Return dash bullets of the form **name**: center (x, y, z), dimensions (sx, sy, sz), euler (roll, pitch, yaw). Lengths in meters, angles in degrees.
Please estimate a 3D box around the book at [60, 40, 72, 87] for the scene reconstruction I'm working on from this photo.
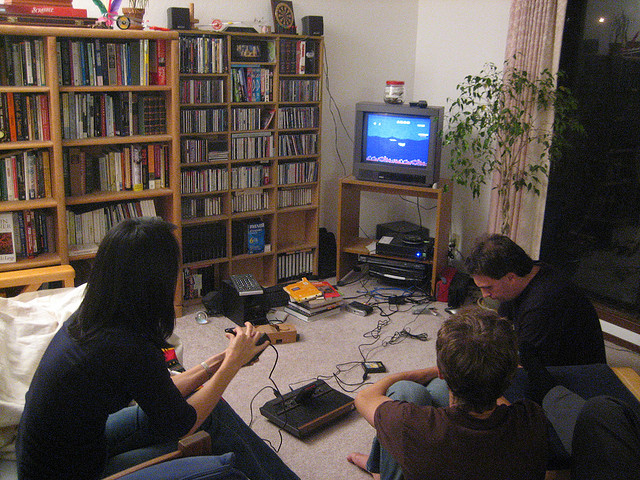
- **book**: center (-1.722, -1.194, 3.534), dimensions (0.030, 0.286, 0.064), euler (10, 19, 37)

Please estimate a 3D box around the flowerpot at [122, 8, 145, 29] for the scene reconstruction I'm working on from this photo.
- **flowerpot**: center (-1.286, -1.561, 3.675), dimensions (0.155, 0.126, 0.151), euler (0, 12, 1)

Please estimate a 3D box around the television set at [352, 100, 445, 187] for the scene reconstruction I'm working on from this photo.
- **television set**: center (0.704, -0.882, 4.721), dimensions (0.753, 0.681, 0.403), euler (9, 29, 12)

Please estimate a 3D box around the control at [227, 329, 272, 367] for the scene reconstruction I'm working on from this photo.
- **control**: center (-0.297, 0.454, 2.294), dimensions (0.144, 0.135, 0.175), euler (20, 24, 40)

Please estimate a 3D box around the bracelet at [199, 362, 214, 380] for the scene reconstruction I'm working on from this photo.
- **bracelet**: center (-0.490, 0.564, 2.260), dimensions (0.016, 0.058, 0.060), euler (-31, 24, -13)

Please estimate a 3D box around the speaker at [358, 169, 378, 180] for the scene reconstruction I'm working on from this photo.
- **speaker**: center (0.432, -0.600, 4.717), dimensions (0.170, 0.087, 0.108), euler (3, 0, -11)

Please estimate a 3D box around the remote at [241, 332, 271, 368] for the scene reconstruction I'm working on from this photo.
- **remote**: center (-0.274, 0.452, 2.199), dimensions (0.042, 0.104, 0.141), euler (39, 31, -3)

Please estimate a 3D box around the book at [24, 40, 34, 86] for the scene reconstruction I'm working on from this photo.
- **book**: center (-1.902, -1.164, 3.396), dimensions (0.033, 0.299, 0.243), euler (-7, 16, -27)

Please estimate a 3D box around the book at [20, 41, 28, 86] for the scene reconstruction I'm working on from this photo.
- **book**: center (-1.928, -1.159, 3.386), dimensions (0.030, 0.290, 0.222), euler (-3, 15, -25)

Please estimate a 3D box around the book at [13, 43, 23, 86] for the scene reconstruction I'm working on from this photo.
- **book**: center (-1.960, -1.135, 3.377), dimensions (0.058, 0.254, 0.009), euler (-12, 18, -33)

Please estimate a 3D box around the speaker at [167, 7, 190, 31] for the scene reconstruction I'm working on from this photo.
- **speaker**: center (-1.096, -1.689, 3.990), dimensions (0.195, 0.165, 0.141), euler (-1, 15, 1)

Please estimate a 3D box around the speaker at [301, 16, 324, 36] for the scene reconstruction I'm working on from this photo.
- **speaker**: center (-0.062, -1.836, 4.507), dimensions (0.175, 0.168, 0.175), euler (-5, 20, -12)

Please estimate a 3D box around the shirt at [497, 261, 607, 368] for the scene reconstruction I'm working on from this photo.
- **shirt**: center (1.181, 0.387, 2.658), dimensions (0.345, 0.415, 0.538), euler (-35, 24, 31)

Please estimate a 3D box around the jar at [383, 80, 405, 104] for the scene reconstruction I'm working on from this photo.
- **jar**: center (0.662, -1.308, 4.638), dimensions (0.192, 0.181, 0.191), euler (-1, 10, 0)

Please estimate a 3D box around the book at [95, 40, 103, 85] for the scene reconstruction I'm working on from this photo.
- **book**: center (-1.550, -1.245, 3.640), dimensions (0.029, 0.273, 0.209), euler (-4, 33, -18)
